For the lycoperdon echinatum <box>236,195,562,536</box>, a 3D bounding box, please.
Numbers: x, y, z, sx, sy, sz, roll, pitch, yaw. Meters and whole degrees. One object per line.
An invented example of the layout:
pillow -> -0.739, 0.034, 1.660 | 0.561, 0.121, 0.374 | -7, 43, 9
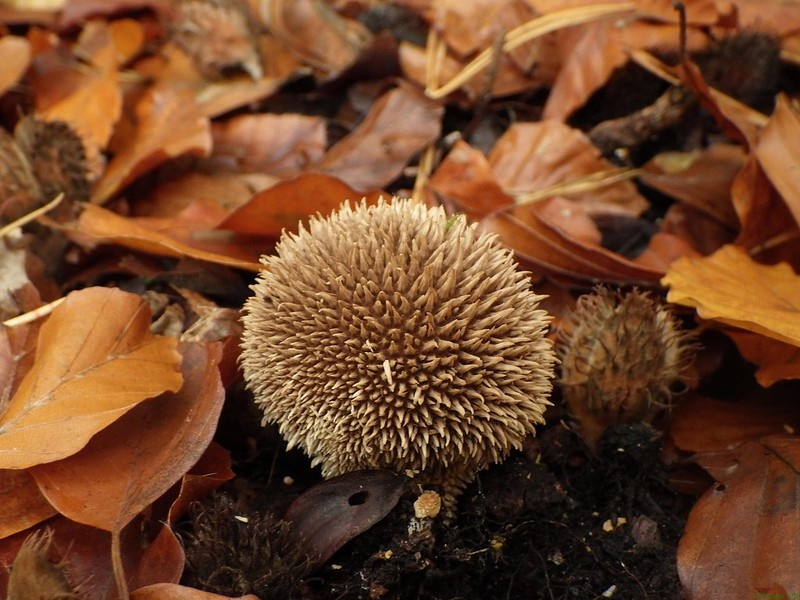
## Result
lycoperdon echinatum -> 0.017, 0.094, 1.914 | 0.589, 0.606, 0.542 | 32, 80, 21
